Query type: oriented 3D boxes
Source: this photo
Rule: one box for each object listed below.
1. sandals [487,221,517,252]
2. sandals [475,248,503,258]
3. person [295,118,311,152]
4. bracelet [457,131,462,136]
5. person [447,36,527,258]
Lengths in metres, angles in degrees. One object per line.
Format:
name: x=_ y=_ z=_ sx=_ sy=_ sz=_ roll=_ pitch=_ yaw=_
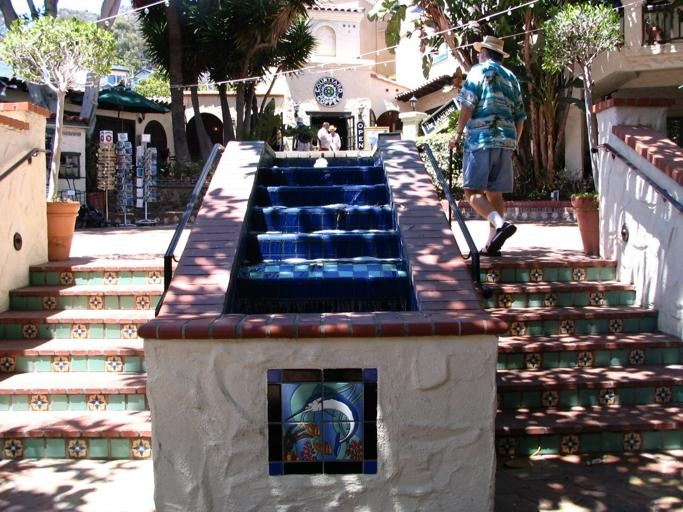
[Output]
sandals: x=1.807 y=-0.196 z=6.977 sx=0.183 sy=0.190 sz=0.531 roll=-1 pitch=-39 yaw=-8
sandals: x=1.792 y=-0.040 z=7.531 sx=0.333 sy=0.098 sz=0.126 roll=0 pitch=2 yaw=9
person: x=-1.442 y=-4.390 z=23.414 sx=0.491 sy=1.685 sz=0.472 roll=3 pitch=-27 yaw=-11
bracelet: x=1.266 y=-1.295 z=6.618 sx=0.042 sy=0.046 sz=0.046 roll=-1 pitch=6 yaw=10
person: x=1.672 y=-1.195 z=6.956 sx=1.014 sy=2.512 sz=0.726 roll=-8 pitch=8 yaw=-40
